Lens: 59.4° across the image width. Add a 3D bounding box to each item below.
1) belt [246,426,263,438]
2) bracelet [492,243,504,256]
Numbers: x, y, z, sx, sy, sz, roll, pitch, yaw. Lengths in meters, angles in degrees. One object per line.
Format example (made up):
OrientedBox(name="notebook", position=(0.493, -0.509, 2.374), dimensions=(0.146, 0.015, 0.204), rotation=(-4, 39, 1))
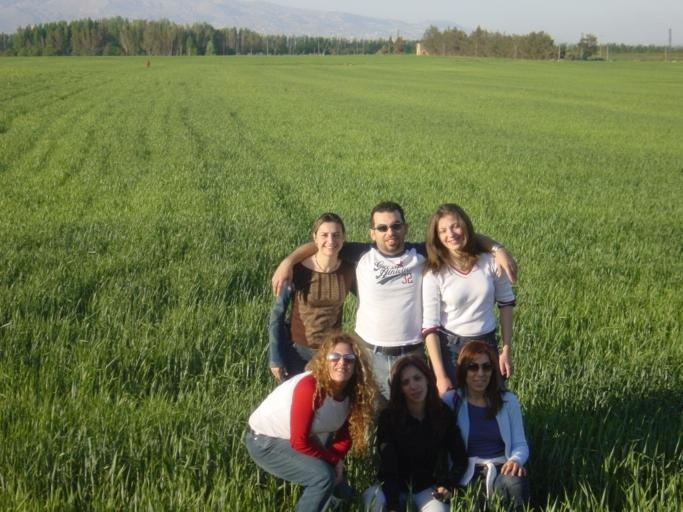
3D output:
OrientedBox(name="belt", position=(-0.903, 1.798, 6.086), dimensions=(0.120, 0.075, 0.181), rotation=(18, -9, -1))
OrientedBox(name="bracelet", position=(1.689, -0.064, 6.527), dimensions=(0.106, 0.130, 0.031), rotation=(0, -4, 36))
